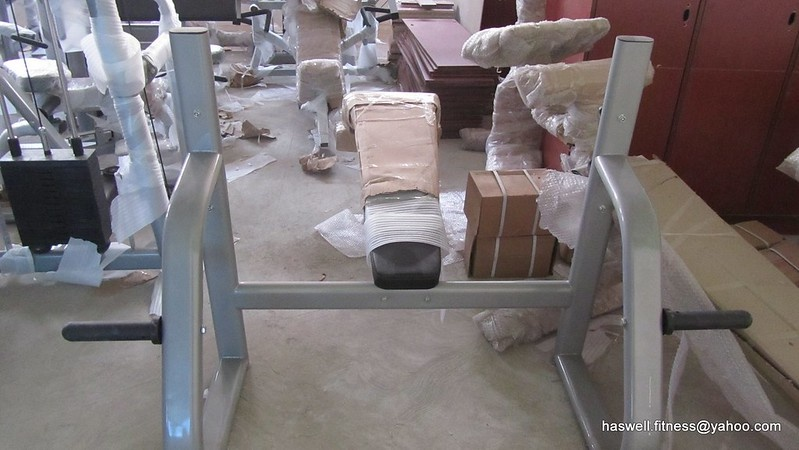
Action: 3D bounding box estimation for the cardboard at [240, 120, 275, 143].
[{"bbox_3d":[-1.165,-0.758,4.086,0.252,0.178,0.103,19,1,-2],"label":"cardboard"}]

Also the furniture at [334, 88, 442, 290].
[{"bbox_3d":[-0.030,-0.153,2.356,0.559,0.300,0.866,0,56,-6],"label":"furniture"}]

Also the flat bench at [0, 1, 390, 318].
[{"bbox_3d":[-0.838,-0.588,3.028,1.617,1.623,1.370,3,51,-10],"label":"flat bench"}]
